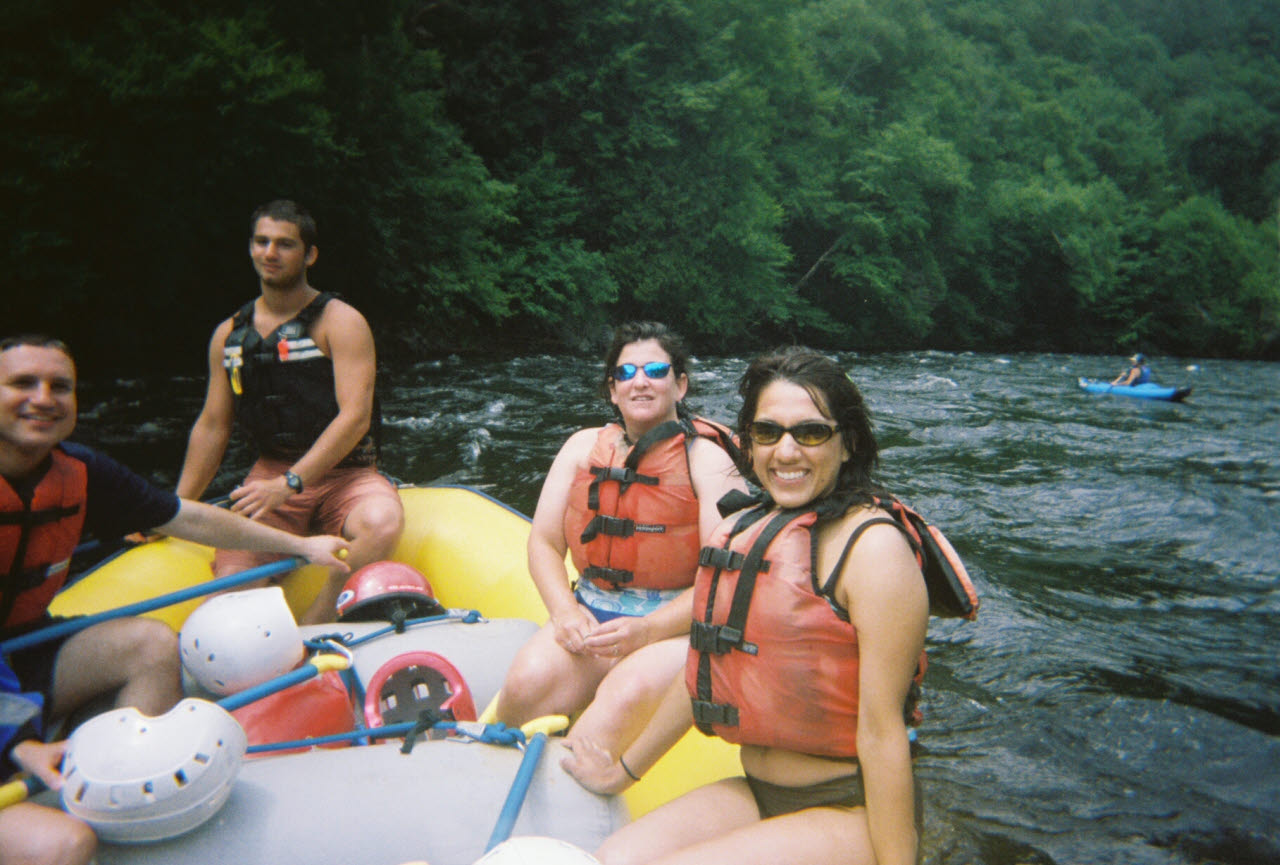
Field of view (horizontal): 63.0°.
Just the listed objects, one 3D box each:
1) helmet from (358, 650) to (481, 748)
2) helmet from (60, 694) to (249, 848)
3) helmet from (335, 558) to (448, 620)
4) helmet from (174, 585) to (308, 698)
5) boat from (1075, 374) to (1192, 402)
[{"bbox_3d":[-1.013,1.206,4.794,0.480,0.309,0.308,11,11,18],"label":"helmet"},{"bbox_3d":[-2.016,1.393,4.226,0.657,0.342,0.598,7,22,13],"label":"helmet"},{"bbox_3d":[-1.267,0.776,5.246,0.406,0.227,0.289,-2,-9,-24],"label":"helmet"},{"bbox_3d":[-1.725,0.900,4.518,0.490,0.498,0.376,7,-15,-38],"label":"helmet"},{"bbox_3d":[6.522,-0.556,13.963,0.450,0.251,1.329,-1,6,-44],"label":"boat"}]
